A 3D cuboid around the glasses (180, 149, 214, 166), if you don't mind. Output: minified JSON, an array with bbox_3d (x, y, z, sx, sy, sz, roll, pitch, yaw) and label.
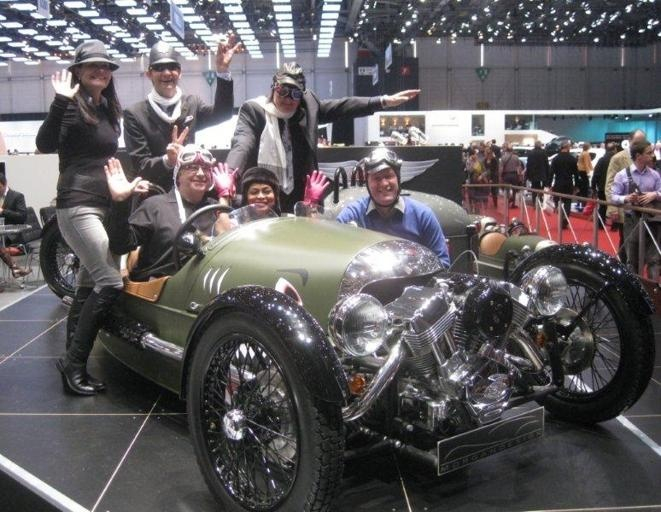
[{"bbox_3d":[-0.819,-0.593,3.184,0.207,0.110,0.113,-8,14,-17],"label":"glasses"}]

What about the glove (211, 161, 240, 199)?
[{"bbox_3d":[-0.677,-0.490,3.316,0.145,0.095,0.238,-11,51,-6],"label":"glove"}]

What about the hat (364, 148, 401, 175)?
[{"bbox_3d":[0.287,-0.543,3.063,0.133,0.120,0.186,-1,8,-4],"label":"hat"}]

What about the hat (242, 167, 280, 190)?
[{"bbox_3d":[-0.447,-0.444,3.146,0.140,0.104,0.141,-6,8,-40],"label":"hat"}]
